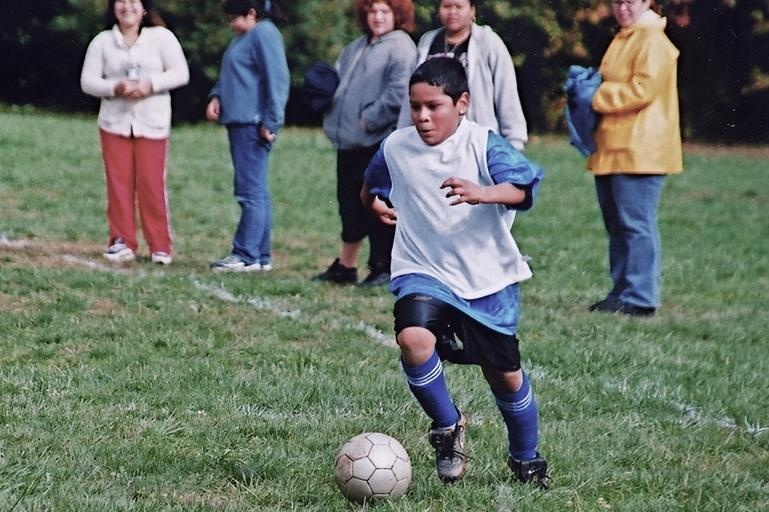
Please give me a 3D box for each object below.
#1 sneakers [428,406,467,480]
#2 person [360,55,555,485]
[{"bbox_3d":[0.543,1.548,11.465,0.222,0.681,0.294,-8,-11,21],"label":"sneakers"},{"bbox_3d":[0.637,0.058,11.802,1.128,3.363,1.411,0,5,-4],"label":"person"}]
